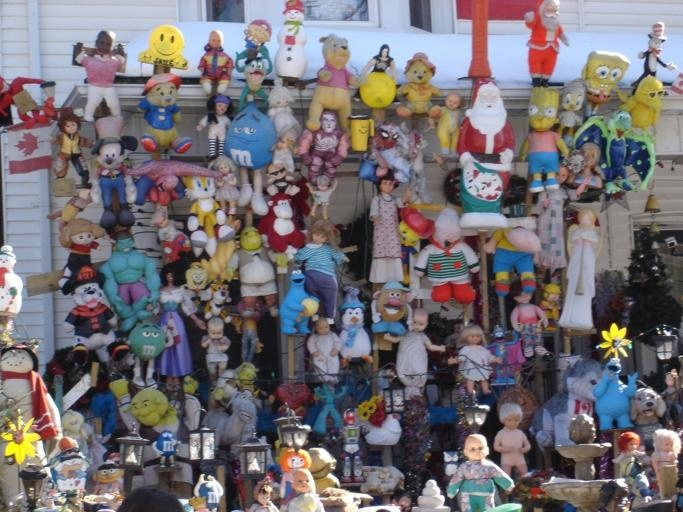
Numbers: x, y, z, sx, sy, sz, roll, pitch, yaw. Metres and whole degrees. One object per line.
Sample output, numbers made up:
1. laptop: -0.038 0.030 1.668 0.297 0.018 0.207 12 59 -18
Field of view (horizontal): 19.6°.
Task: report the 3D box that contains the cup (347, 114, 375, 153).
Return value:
1. cup: 0.205 -1.249 20.386 0.271 0.430 0.320 8 26 -1
